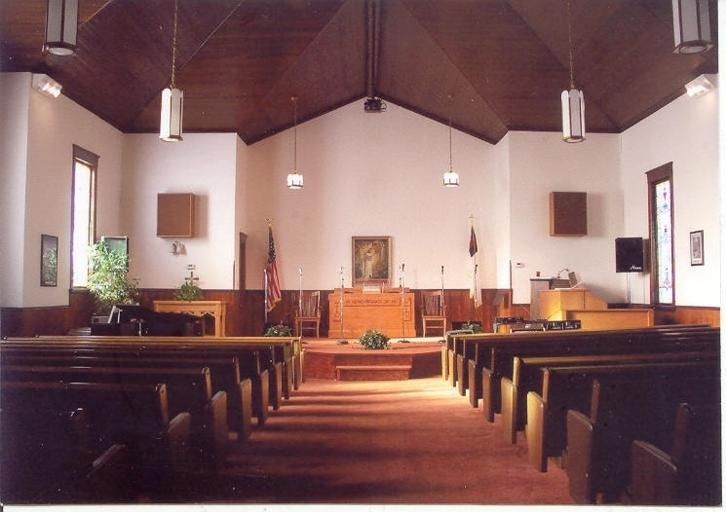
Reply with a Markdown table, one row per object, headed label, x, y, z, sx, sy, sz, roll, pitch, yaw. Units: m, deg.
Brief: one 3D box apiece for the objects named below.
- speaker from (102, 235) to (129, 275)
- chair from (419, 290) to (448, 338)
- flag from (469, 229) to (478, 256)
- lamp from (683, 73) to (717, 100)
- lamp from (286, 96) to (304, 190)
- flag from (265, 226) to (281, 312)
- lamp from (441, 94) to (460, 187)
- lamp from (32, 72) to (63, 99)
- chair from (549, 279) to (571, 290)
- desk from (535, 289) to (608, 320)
| label | x | y | z | sx | sy | sz | roll | pitch | yaw |
| --- | --- | --- | --- | --- | --- | --- | --- | --- | --- |
| speaker | -4.485 | -0.185 | 11.533 | 0.522 | 0.635 | 0.147 | -4 | -11 | 7 |
| chair | 1.574 | 1.256 | 14.051 | 0.589 | 1.005 | 0.655 | -1 | -1 | 6 |
| flag | 2.484 | -0.315 | 14.263 | 0.194 | 0.640 | 0.213 | -1 | -2 | 9 |
| lamp | 5.328 | -2.696 | 10.047 | 0.372 | 0.399 | 0.156 | -16 | 22 | -40 |
| lamp | -1.500 | -2.418 | 13.919 | 0.375 | 1.934 | 1.410 | 0 | -1 | -6 |
| flag | -1.991 | 0.253 | 13.940 | 0.340 | 1.927 | 0.908 | 0 | -2 | -8 |
| lamp | 1.944 | -2.443 | 13.914 | 0.290 | 1.895 | 1.275 | -1 | -2 | 10 |
| lamp | -5.015 | -2.754 | 10.044 | 0.310 | 0.312 | 0.441 | -20 | -27 | 17 |
| chair | 3.671 | 0.524 | 11.826 | 0.286 | 0.191 | 0.293 | 1 | -3 | 6 |
| desk | 3.932 | 0.844 | 11.333 | 0.525 | 0.426 | 0.586 | 10 | -5 | 7 |
